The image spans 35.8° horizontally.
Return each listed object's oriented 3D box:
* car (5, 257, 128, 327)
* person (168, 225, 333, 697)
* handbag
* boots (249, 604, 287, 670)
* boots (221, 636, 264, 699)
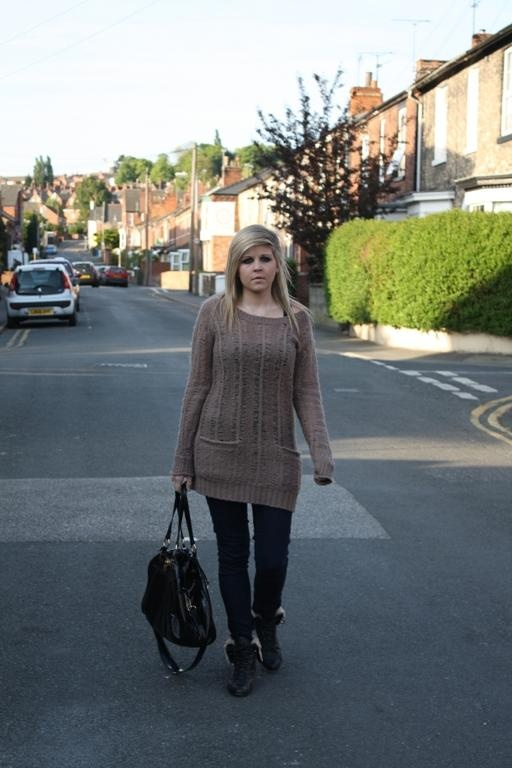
[{"bbox_3d":[-6.835,-2.941,25.498,2.074,1.879,1.032,0,4,-22],"label":"car"},{"bbox_3d":[-0.003,0.281,2.989,0.603,1.747,0.378,1,4,-5],"label":"person"},{"bbox_3d":[-0.352,0.858,3.664,0.307,0.728,0.650,-3,12,-24],"label":"handbag"},{"bbox_3d":[0.052,1.032,3.180,0.087,0.260,0.182,-8,-11,-7],"label":"boots"},{"bbox_3d":[-0.047,1.054,2.963,0.078,0.093,0.220,-3,13,2],"label":"boots"}]
